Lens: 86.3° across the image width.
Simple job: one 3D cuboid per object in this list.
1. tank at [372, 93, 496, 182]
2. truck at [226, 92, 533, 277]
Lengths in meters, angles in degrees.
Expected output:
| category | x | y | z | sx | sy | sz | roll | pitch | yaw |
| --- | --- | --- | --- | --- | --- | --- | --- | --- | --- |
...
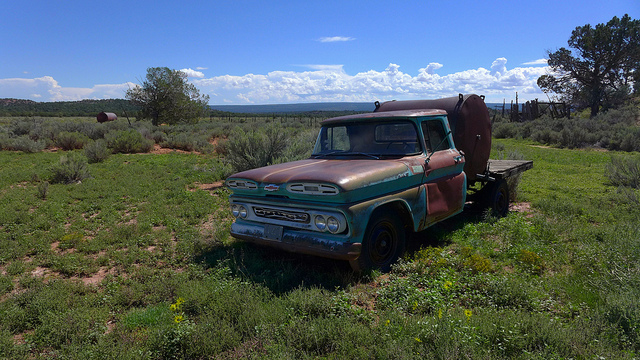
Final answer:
| category | x | y | z | sx | sy | sz | roll | pitch | yaw |
| --- | --- | --- | --- | --- | --- | --- | --- | --- | --- |
| tank | 3.652 | -1.523 | 11.456 | 3.050 | 2.670 | 3.390 | -10 | 11 | -42 |
| truck | 2.326 | -0.181 | 10.092 | 4.165 | 3.453 | 8.058 | 0 | 7 | 41 |
